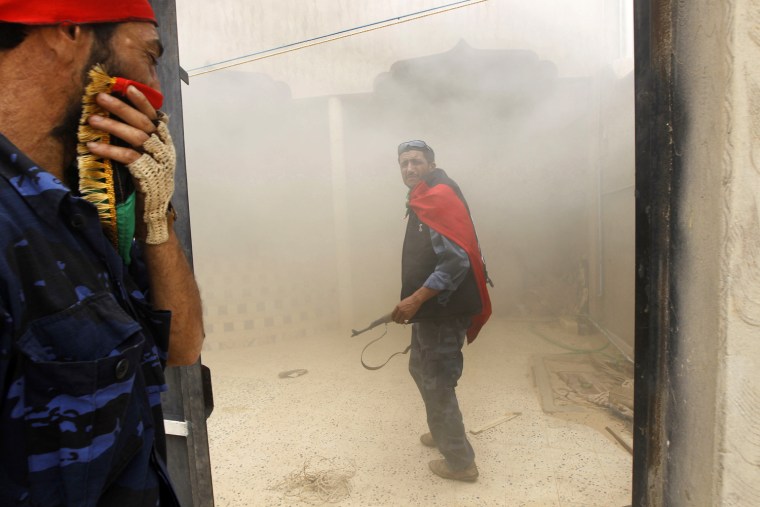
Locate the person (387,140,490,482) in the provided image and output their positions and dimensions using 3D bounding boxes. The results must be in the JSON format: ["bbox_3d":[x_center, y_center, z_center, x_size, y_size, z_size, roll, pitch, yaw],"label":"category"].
[{"bbox_3d":[0.278,0.265,3.300,0.295,1.513,0.377,-15,19,-34],"label":"person"}]

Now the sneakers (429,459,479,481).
[{"bbox_3d":[0.340,0.997,3.411,0.222,0.094,0.084,10,2,7],"label":"sneakers"}]

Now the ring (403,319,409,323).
[{"bbox_3d":[0.122,0.307,3.373,0.011,0.014,0.033,-5,14,-20],"label":"ring"}]
